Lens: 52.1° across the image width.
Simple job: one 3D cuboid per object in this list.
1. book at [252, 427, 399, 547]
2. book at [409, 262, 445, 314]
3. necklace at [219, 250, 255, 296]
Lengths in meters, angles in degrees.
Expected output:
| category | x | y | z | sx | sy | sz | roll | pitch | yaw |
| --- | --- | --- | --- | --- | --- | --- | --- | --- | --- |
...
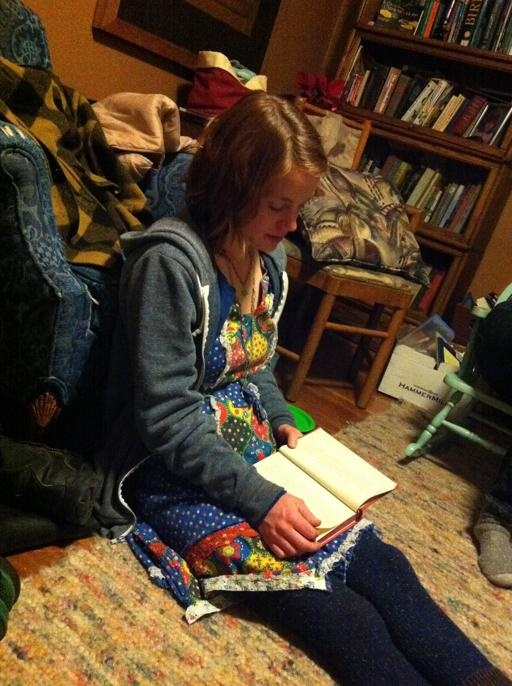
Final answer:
| category | x | y | z | sx | sy | sz | roll | pitch | yaw |
| --- | --- | --- | --- | --- | --- | --- | --- | --- | --- |
| book | 0.181 | 0.246 | 1.066 | 0.348 | 0.047 | 0.366 | 27 | 9 | 15 |
| book | 0.916 | -0.300 | 2.791 | 0.100 | 0.256 | 0.270 | 19 | 67 | -3 |
| necklace | -0.037 | -0.128 | 0.953 | 0.045 | 0.080 | 0.064 | 9 | 36 | 30 |
